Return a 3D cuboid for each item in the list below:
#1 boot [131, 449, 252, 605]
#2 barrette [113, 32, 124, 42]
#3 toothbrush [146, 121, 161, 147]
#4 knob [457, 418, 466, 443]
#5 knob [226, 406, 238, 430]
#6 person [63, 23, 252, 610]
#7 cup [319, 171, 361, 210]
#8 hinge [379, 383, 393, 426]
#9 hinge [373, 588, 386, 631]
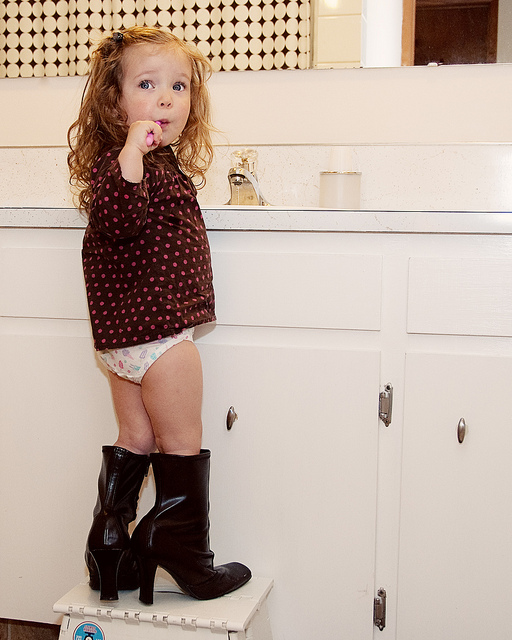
[{"bbox_3d":[-0.081,0.285,0.866,0.176,0.228,0.078,-1,13,-26],"label":"boot"},{"bbox_3d":[-0.198,-0.409,0.881,0.012,0.015,0.024,3,11,-9],"label":"barrette"},{"bbox_3d":[-0.137,-0.251,0.827,0.008,0.047,0.012,5,-15,3],"label":"toothbrush"},{"bbox_3d":[0.309,0.167,0.922,0.011,0.036,0.006,-2,6,-9],"label":"knob"},{"bbox_3d":[-0.041,0.159,0.983,0.017,0.034,0.007,7,-1,5],"label":"knob"},{"bbox_3d":[-0.150,-0.017,0.957,0.254,0.847,0.351,-3,6,-18],"label":"person"},{"bbox_3d":[0.161,-0.251,1.241,0.086,0.116,0.096,0,12,0],"label":"cup"},{"bbox_3d":[0.200,0.130,0.938,0.018,0.073,0.008,0,18,7],"label":"hinge"},{"bbox_3d":[0.192,0.451,0.948,0.017,0.079,0.008,-3,15,-2],"label":"hinge"}]
